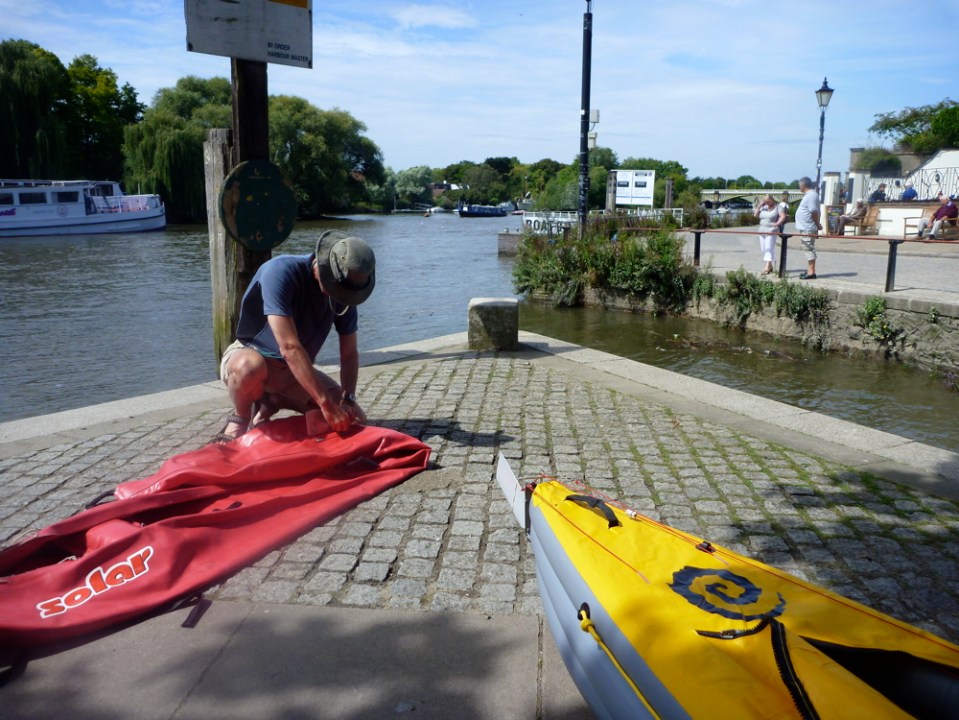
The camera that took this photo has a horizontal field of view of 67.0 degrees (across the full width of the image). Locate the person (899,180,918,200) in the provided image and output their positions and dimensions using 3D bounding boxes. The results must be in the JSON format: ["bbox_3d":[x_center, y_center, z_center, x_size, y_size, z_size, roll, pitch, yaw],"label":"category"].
[{"bbox_3d":[18.514,-7.256,31.327,0.519,0.910,4.402,5,12,29],"label":"person"}]

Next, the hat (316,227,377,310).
[{"bbox_3d":[-1.010,-0.694,5.226,0.465,0.527,0.212,-2,-8,-36],"label":"hat"}]

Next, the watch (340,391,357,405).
[{"bbox_3d":[-1.028,0.291,5.656,0.084,0.051,0.113,8,1,0],"label":"watch"}]

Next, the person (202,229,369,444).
[{"bbox_3d":[-1.365,-0.166,5.363,1.099,1.517,0.802,-5,12,-20],"label":"person"}]

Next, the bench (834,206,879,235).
[{"bbox_3d":[14.854,-5.468,28.547,1.275,1.057,2.220,5,12,25],"label":"bench"}]
